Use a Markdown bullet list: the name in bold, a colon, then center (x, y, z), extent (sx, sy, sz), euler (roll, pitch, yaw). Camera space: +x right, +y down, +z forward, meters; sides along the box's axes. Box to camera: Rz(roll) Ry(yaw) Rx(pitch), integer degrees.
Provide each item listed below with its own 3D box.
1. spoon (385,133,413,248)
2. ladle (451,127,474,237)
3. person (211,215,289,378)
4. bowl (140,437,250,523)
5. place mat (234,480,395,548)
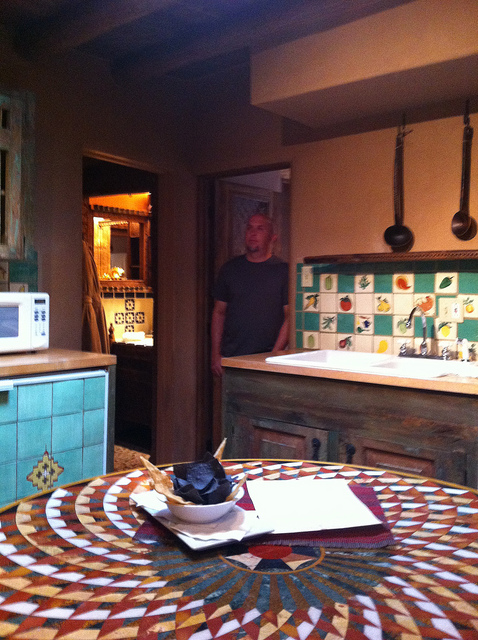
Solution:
- **spoon**: center (0.801, -0.635, 2.635), extent (0.071, 0.548, 0.133), euler (0, 2, -22)
- **ladle**: center (1.016, -0.626, 2.393), extent (0.060, 0.431, 0.071), euler (0, 0, 41)
- **person**: center (0.060, -0.135, 3.447), extent (0.627, 1.099, 0.328), euler (1, 2, 19)
- **bowl**: center (-0.072, 0.248, 0.821), extent (0.133, 0.085, 0.189), euler (4, 12, -8)
- **place mat**: center (0.139, 0.301, 0.737), extent (0.218, 0.015, 0.279), euler (0, 2, -3)
